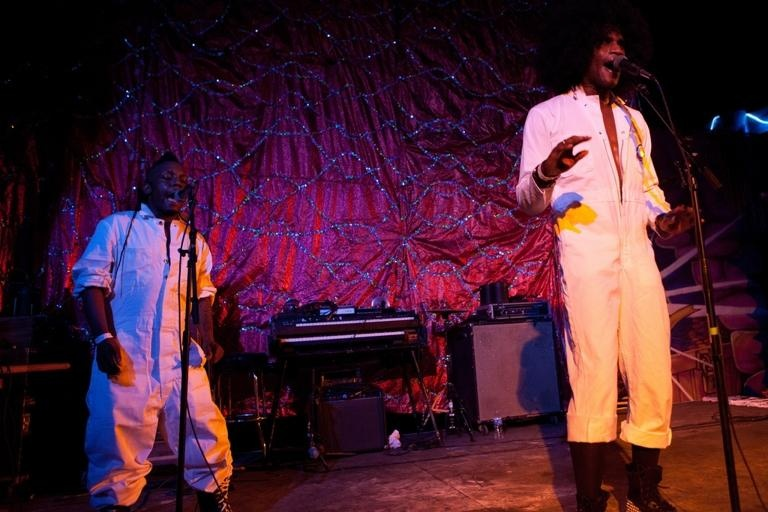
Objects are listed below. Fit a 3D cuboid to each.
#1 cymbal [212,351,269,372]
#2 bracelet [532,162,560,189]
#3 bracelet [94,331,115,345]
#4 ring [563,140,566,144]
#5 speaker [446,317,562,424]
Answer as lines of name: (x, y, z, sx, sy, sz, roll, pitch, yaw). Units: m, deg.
cymbal: (-1.266, 0.960, 5.284, 0.285, 0.100, 0.297, -10, -13, 35)
bracelet: (0.961, -0.475, 3.408, 0.115, 0.061, 0.142, 9, 7, -14)
bracelet: (-1.814, 0.541, 3.808, 0.098, 0.038, 0.074, -20, 10, 30)
ring: (1.013, -0.642, 3.260, 0.014, 0.014, 0.003, -19, -59, 36)
speaker: (1.291, 1.262, 6.510, 1.297, 1.073, 1.033, 2, -10, -37)
